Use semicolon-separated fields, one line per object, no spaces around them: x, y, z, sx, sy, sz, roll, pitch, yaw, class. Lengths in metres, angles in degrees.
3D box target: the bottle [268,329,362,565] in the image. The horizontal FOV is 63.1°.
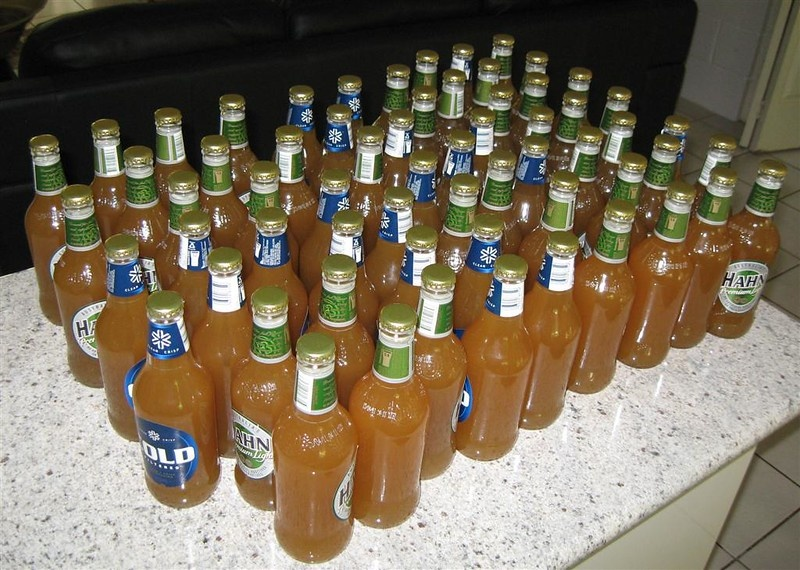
-0.111;0.236;0.940;0.103;0.360;0.166;26;41;32;bottle
